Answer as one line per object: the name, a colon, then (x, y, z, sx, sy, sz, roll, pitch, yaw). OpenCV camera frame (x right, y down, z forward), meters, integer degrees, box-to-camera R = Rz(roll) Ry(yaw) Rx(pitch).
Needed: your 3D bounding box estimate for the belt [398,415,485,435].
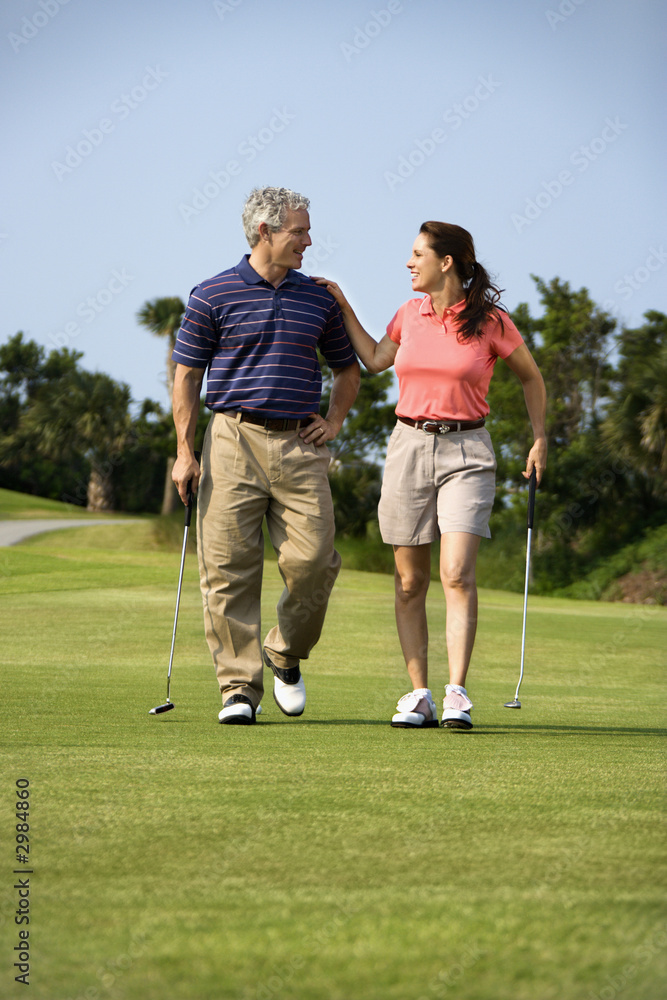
belt: (0.350, -0.231, 3.253, 0.223, 0.050, 0.061, 2, 0, -4)

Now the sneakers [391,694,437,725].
sneakers: (0.241, 0.626, 3.055, 0.130, 0.099, 0.267, 2, 0, 6)

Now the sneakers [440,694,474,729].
sneakers: (0.355, 0.611, 2.964, 0.086, 0.100, 0.153, 2, 0, 6)

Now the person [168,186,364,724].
person: (-0.199, -0.155, 3.319, 0.375, 1.595, 0.585, 2, -1, 37)

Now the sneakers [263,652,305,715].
sneakers: (-0.146, 0.594, 3.270, 0.065, 0.077, 0.185, -2, 29, -21)
